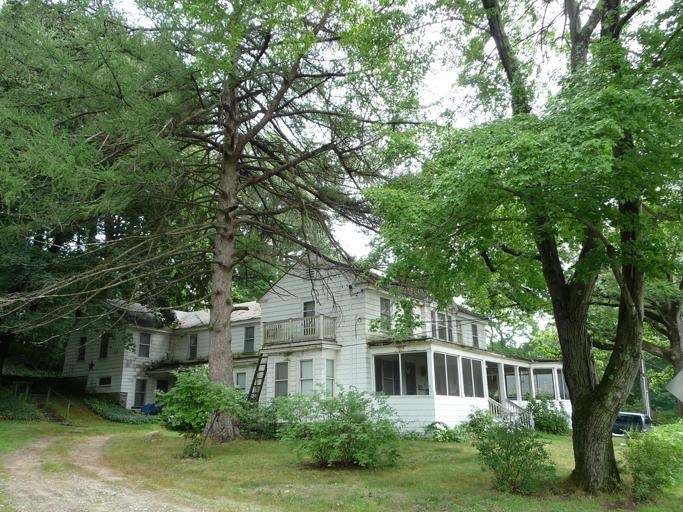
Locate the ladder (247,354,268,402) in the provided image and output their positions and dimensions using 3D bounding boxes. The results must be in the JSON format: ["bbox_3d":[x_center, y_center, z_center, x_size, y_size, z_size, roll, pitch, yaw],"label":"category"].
[{"bbox_3d":[-4.073,5.907,24.965,0.845,2.117,1.917,3,-12,-6],"label":"ladder"}]
